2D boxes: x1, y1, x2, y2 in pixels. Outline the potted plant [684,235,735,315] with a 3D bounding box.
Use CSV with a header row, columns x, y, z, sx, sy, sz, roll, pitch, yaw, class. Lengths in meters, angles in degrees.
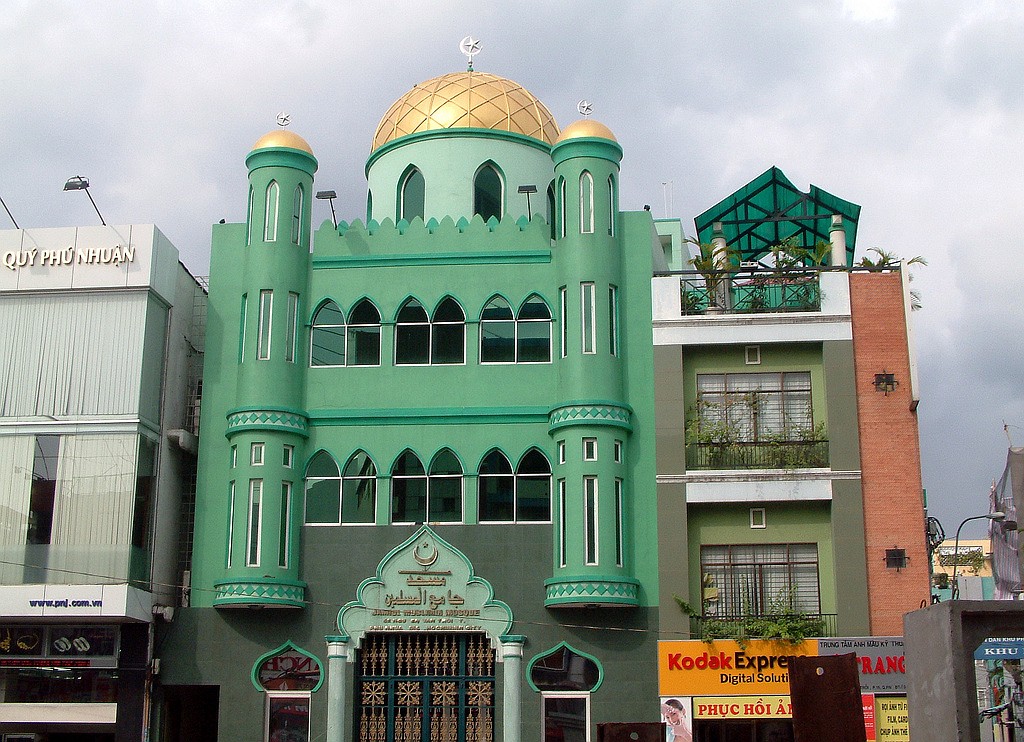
x,y,z,sx,sy,sz,roll,pitch,yaw,class
5.671,-2.663,35.949,1.338,2.010,1.082,-5,-5,35,potted plant
